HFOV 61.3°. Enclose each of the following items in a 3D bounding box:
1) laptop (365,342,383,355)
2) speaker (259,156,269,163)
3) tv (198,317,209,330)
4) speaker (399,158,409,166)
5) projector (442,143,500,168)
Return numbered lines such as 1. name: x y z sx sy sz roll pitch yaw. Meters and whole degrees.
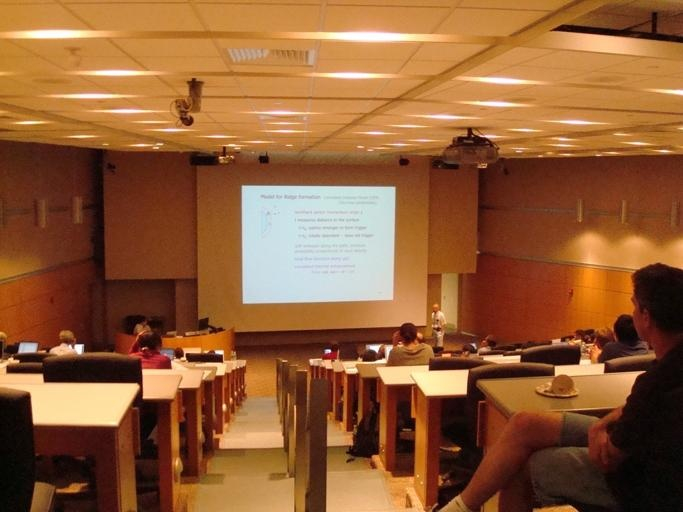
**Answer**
1. laptop: 0.568 1.561 9.750 0.528 0.119 0.479 0 -2 11
2. speaker: -1.884 -2.301 13.877 0.188 0.172 0.184 3 13 9
3. tv: -3.205 1.590 13.397 0.094 0.249 0.261 -18 -19 38
4. speaker: 1.567 -2.339 14.526 0.301 0.190 0.157 1 -1 1
5. projector: 1.697 -1.312 7.589 0.487 0.171 0.387 1 4 19
